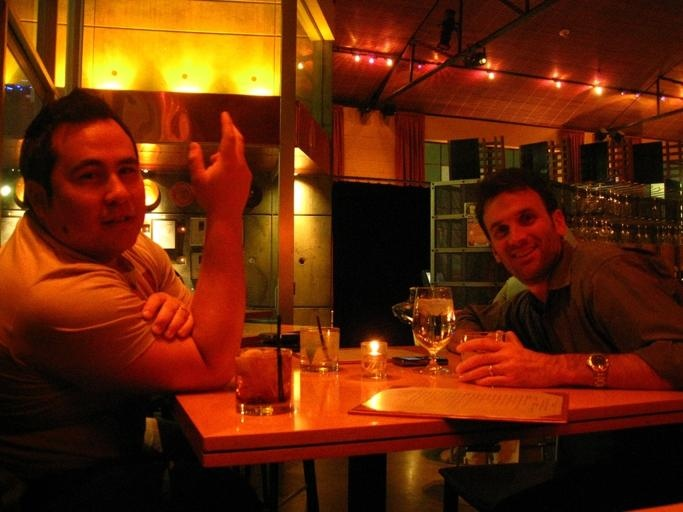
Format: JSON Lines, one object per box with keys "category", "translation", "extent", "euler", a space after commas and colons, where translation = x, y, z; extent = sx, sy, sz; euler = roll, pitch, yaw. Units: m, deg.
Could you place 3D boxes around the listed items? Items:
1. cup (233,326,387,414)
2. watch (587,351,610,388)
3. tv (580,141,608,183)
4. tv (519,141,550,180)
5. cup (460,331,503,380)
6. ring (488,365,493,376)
{"category": "cup", "translation": [-0.087, 0.309, 1.877], "extent": [0.415, 0.261, 0.204], "euler": [0, -3, -20]}
{"category": "watch", "translation": [0.758, 0.334, 1.940], "extent": [0.053, 0.087, 0.094], "euler": [1, 41, 8]}
{"category": "tv", "translation": [2.217, -0.805, 5.738], "extent": [0.231, 0.419, 0.043], "euler": [2, -28, 16]}
{"category": "tv", "translation": [1.720, -0.849, 5.850], "extent": [0.252, 0.353, 0.031], "euler": [-8, 25, 4]}
{"category": "cup", "translation": [0.433, 0.301, 2.028], "extent": [0.141, 0.139, 0.120], "euler": [1, 0, -38]}
{"category": "ring", "translation": [0.444, 0.339, 1.946], "extent": [0.016, 0.023, 0.024], "euler": [0, -7, 3]}
